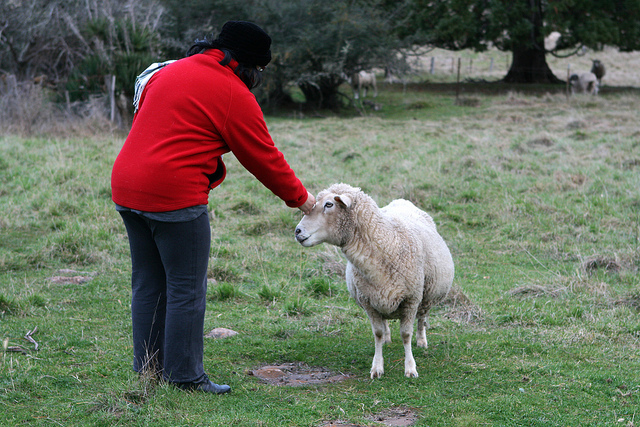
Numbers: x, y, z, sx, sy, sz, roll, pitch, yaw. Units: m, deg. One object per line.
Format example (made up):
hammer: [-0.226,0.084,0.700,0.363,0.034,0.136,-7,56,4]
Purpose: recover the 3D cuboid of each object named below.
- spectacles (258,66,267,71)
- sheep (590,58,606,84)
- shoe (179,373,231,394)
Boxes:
spectacles: [-0.882,-2.167,13.819,0.078,0.033,0.145,-11,-2,-7]
sheep: [6.462,-3.292,21.569,0.242,0.537,0.692,2,6,34]
shoe: [-1.680,2.521,13.893,0.833,0.365,0.278,2,0,-18]
